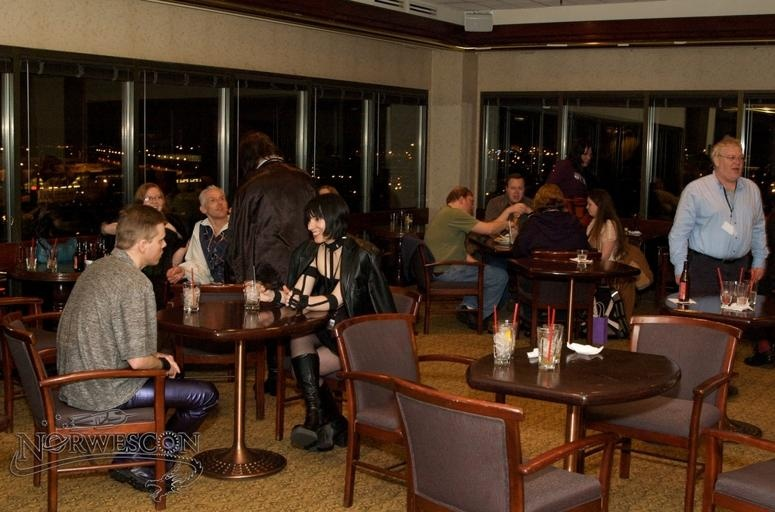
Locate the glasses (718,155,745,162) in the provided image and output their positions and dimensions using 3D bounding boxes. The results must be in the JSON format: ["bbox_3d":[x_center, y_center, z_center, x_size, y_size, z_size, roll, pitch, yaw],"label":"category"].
[{"bbox_3d":[2.932,-0.843,5.374,0.098,0.067,0.124,0,-1,-2],"label":"glasses"}]

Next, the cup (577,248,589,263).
[{"bbox_3d":[2.076,-0.001,6.602,0.130,0.133,0.131,-1,7,0],"label":"cup"}]

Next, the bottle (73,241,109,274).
[{"bbox_3d":[-2.483,0.010,5.204,0.296,0.266,0.284,1,8,-4],"label":"bottle"}]

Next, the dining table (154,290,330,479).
[{"bbox_3d":[-0.965,0.821,4.045,1.262,0.881,1.099,1,-1,7],"label":"dining table"}]

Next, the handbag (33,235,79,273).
[{"bbox_3d":[-3.122,-0.023,5.895,0.396,0.356,0.141,-1,-19,-36],"label":"handbag"}]

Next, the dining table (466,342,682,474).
[{"bbox_3d":[1.011,0.639,3.279,0.661,0.515,0.758,-6,8,-44],"label":"dining table"}]

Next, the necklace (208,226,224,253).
[{"bbox_3d":[-1.569,-0.123,5.713,0.175,0.165,0.056,7,-4,10],"label":"necklace"}]

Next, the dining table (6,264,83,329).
[{"bbox_3d":[-3.047,0.415,5.729,0.665,0.472,0.651,6,4,36],"label":"dining table"}]

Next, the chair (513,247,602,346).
[{"bbox_3d":[1.796,0.394,6.492,0.982,1.021,0.938,0,0,-14],"label":"chair"}]

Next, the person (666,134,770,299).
[{"bbox_3d":[2.872,-0.348,5.410,0.849,1.293,0.274,-1,10,-7],"label":"person"}]
